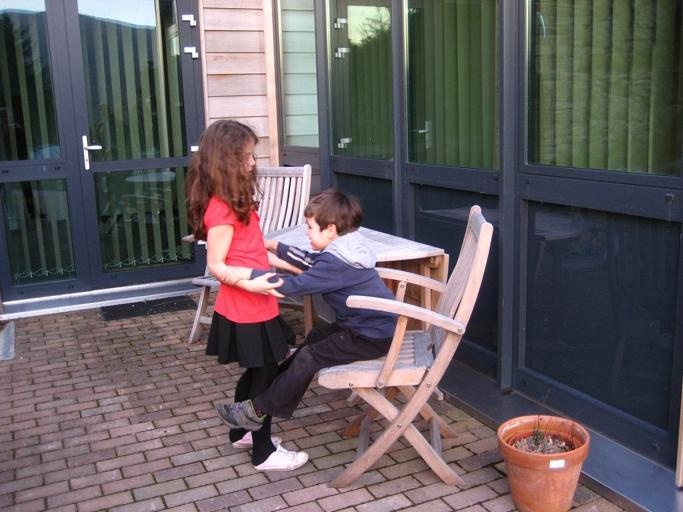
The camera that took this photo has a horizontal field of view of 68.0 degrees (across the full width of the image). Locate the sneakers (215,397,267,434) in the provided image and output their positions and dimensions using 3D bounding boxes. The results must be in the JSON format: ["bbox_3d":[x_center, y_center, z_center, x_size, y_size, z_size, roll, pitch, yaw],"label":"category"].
[{"bbox_3d":[-0.449,0.726,2.313,0.284,0.109,0.148,9,-21,-12],"label":"sneakers"}]

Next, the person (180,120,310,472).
[{"bbox_3d":[-0.441,0.222,2.344,0.465,1.658,0.389,-4,13,-4],"label":"person"}]

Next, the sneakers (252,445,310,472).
[{"bbox_3d":[-0.300,0.961,2.429,0.247,0.099,0.102,-5,21,-7],"label":"sneakers"}]
